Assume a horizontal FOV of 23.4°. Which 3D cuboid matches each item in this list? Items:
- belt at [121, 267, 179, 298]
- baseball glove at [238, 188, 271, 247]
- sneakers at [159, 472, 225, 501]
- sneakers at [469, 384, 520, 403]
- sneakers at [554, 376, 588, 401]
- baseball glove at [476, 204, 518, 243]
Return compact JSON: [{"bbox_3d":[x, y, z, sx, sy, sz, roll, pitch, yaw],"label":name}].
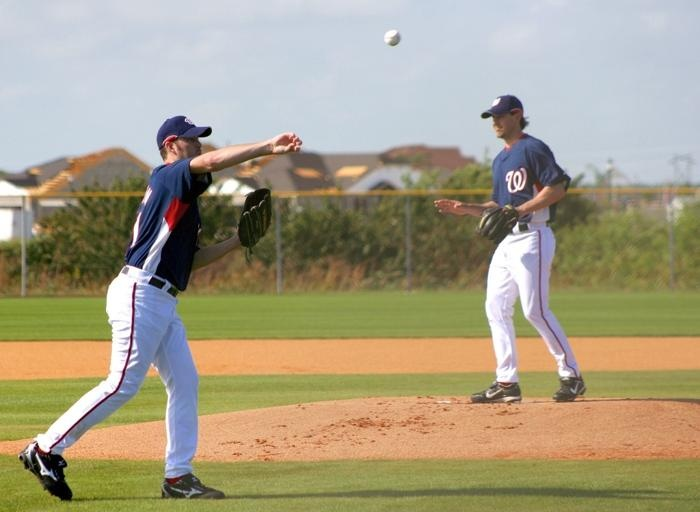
[{"bbox_3d":[-1.875,0.223,15.674,0.331,0.078,0.348,16,-6,32],"label":"belt"},{"bbox_3d":[-0.942,-0.388,16.267,0.128,0.529,0.347,6,-8,40],"label":"baseball glove"},{"bbox_3d":[-1.531,2.153,15.727,0.644,0.236,0.228,1,-1,3],"label":"sneakers"},{"bbox_3d":[1.473,1.408,17.435,0.544,0.213,0.193,2,-2,2],"label":"sneakers"},{"bbox_3d":[2.247,1.354,17.315,0.342,0.246,0.263,-2,0,-10],"label":"sneakers"},{"bbox_3d":[1.518,-0.327,17.355,0.415,0.298,0.186,-36,-34,-5],"label":"baseball glove"}]
